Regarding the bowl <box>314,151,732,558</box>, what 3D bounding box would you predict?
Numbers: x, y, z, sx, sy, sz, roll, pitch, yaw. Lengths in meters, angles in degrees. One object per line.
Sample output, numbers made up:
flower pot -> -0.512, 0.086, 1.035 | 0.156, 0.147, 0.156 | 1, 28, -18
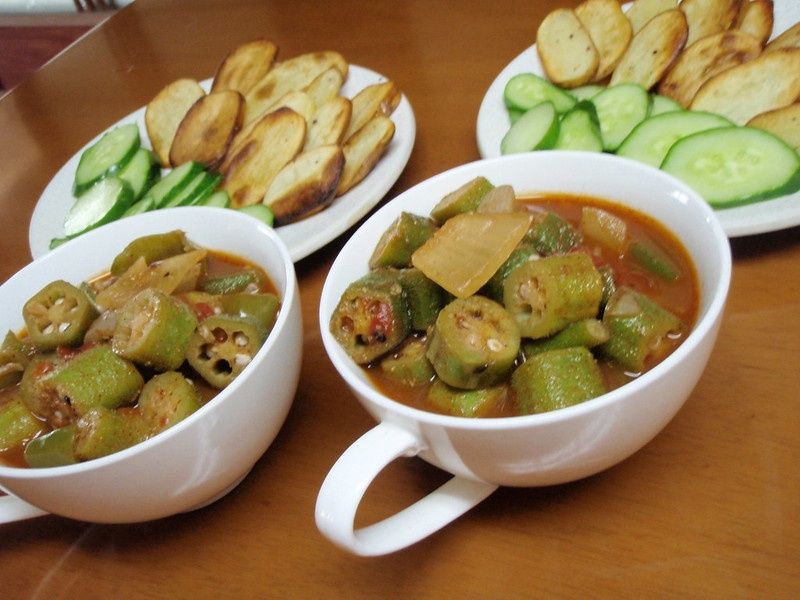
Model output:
bowl -> 0.207, 0.028, 1.638 | 0.951, 0.280, 0.770 | -21, 51, -3
